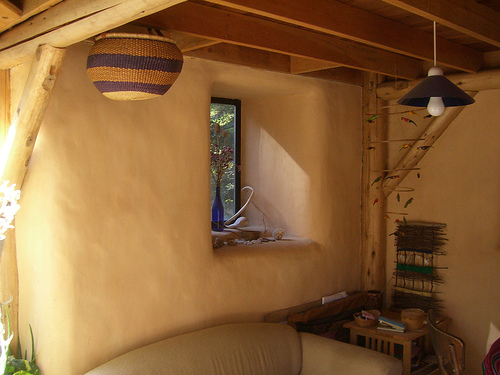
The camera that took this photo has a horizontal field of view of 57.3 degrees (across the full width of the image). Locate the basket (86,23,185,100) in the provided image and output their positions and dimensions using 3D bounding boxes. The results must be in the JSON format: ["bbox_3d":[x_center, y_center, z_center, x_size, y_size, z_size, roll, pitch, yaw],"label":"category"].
[{"bbox_3d":[-0.690,-0.731,2.738,0.551,0.311,0.558,8,12,26],"label":"basket"}]

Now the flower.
[{"bbox_3d":[-0.220,-0.303,4.436,0.369,0.642,0.252,4,-4,-23],"label":"flower"}]

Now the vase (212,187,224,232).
[{"bbox_3d":[-0.295,0.238,4.154,0.107,0.314,0.054,3,-4,-14],"label":"vase"}]

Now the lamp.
[{"bbox_3d":[1.098,-0.710,2.717,0.539,0.464,0.527,-12,11,-44],"label":"lamp"}]
